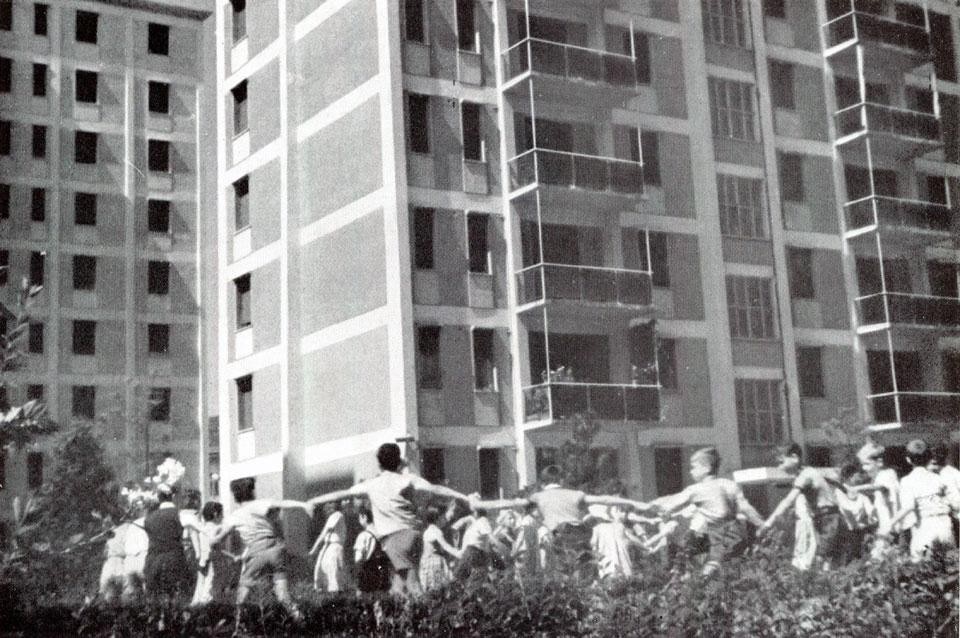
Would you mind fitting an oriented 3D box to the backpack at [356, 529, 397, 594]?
[{"bbox_3d":[-0.859,2.039,8.345,0.163,0.485,0.321,5,-10,-40],"label":"backpack"}]
